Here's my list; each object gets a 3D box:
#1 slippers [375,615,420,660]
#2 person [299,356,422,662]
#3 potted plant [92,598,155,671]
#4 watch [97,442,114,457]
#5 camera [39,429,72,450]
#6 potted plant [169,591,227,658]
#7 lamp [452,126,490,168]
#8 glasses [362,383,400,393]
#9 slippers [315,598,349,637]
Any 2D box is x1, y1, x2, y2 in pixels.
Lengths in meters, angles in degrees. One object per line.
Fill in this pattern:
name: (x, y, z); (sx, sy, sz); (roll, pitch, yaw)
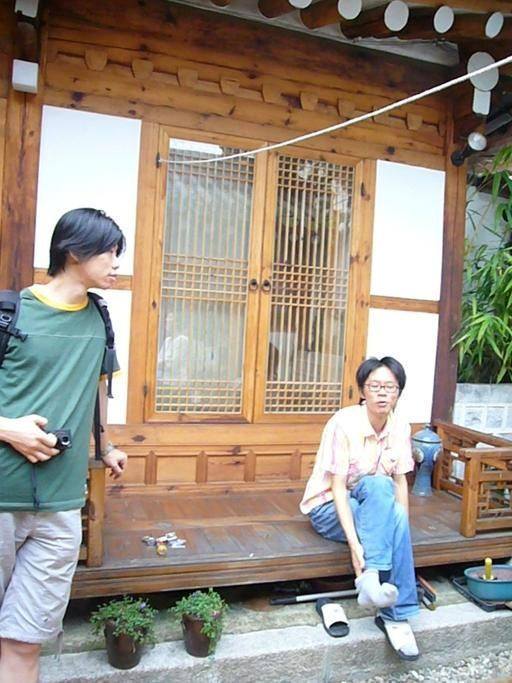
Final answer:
slippers: (0.627, 1.333, 2.635); (0.100, 0.099, 0.282); (-4, 1, -13)
person: (0.501, 0.721, 2.744); (0.570, 1.284, 0.981); (3, 5, 6)
potted plant: (-0.515, 1.164, 2.338); (0.249, 0.219, 0.238); (0, 0, -5)
watch: (-0.570, 0.409, 2.180); (0.063, 0.042, 0.066); (26, -1, -4)
camera: (-0.575, 0.277, 1.668); (0.057, 0.068, 0.077); (2, 2, 34)
potted plant: (-0.223, 1.177, 2.440); (0.228, 0.242, 0.231); (1, -3, -5)
lamp: (1.611, -1.480, 4.408); (0.175, 0.163, 0.299); (27, 21, -23)
glasses: (0.609, 0.225, 2.801); (0.162, 0.050, 0.069); (3, 5, 7)
slippers: (0.364, 1.299, 2.707); (0.147, 0.099, 0.257); (3, 5, 2)
